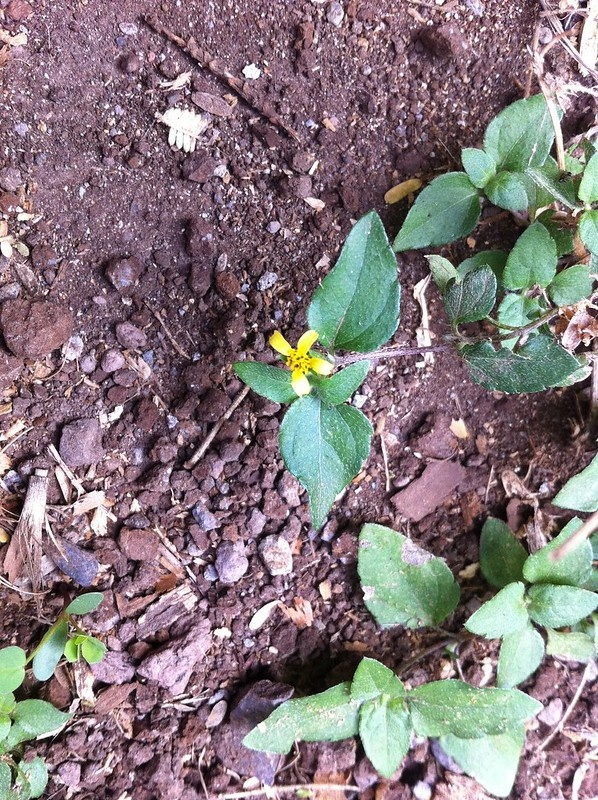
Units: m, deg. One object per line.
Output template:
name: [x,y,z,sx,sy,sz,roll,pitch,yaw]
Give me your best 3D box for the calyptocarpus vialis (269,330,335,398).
calyptocarpus vialis: [0.012,-0.077,1.534,0.125,0.225,0.135,-20,83,-8]
